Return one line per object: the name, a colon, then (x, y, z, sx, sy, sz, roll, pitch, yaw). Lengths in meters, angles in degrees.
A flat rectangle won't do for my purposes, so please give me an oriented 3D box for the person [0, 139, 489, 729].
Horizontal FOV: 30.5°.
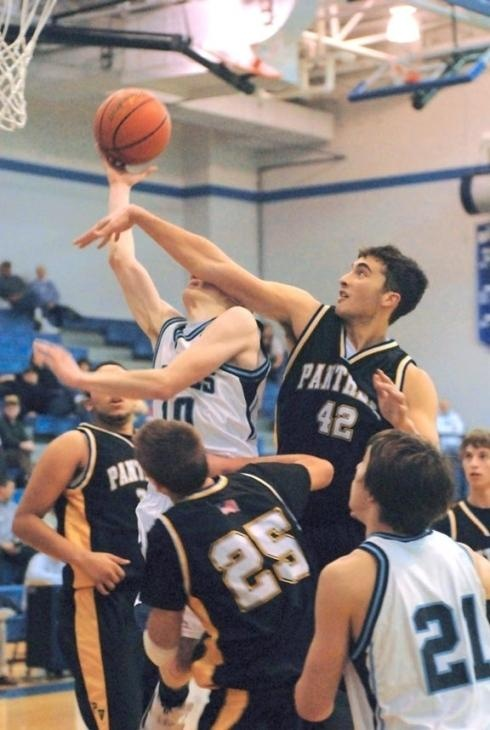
person: (0.156, 0.024, 2.564, 1.409, 1.567, 0.870, -6, 4, -24)
